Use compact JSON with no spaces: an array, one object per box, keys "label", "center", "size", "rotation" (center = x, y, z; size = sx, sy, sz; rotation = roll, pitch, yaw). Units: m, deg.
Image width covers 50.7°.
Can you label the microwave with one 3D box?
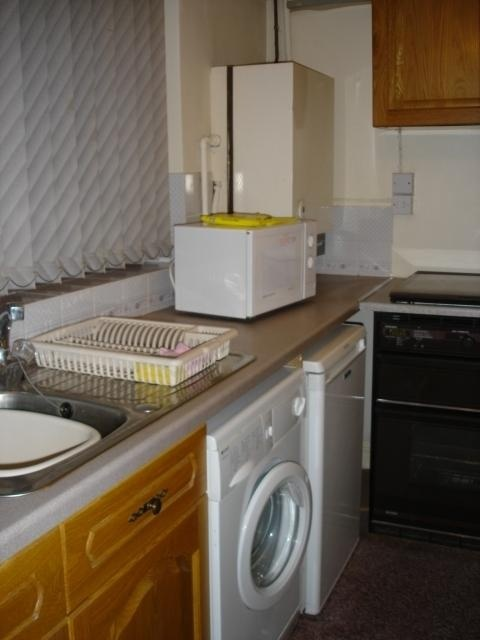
[{"label":"microwave","center":[0.012,-0.234,1.889],"size":[0.416,0.422,0.456],"rotation":[7,15,31]}]
